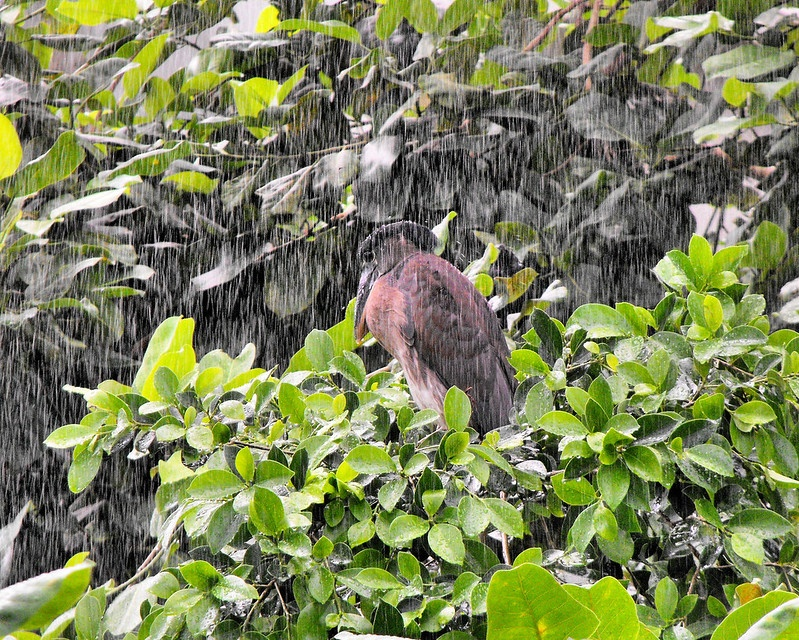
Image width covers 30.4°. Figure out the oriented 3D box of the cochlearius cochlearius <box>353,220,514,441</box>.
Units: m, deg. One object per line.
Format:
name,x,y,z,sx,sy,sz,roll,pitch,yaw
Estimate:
cochlearius cochlearius,0.074,0.054,3.241,0.362,0.260,0.554,1,66,0
